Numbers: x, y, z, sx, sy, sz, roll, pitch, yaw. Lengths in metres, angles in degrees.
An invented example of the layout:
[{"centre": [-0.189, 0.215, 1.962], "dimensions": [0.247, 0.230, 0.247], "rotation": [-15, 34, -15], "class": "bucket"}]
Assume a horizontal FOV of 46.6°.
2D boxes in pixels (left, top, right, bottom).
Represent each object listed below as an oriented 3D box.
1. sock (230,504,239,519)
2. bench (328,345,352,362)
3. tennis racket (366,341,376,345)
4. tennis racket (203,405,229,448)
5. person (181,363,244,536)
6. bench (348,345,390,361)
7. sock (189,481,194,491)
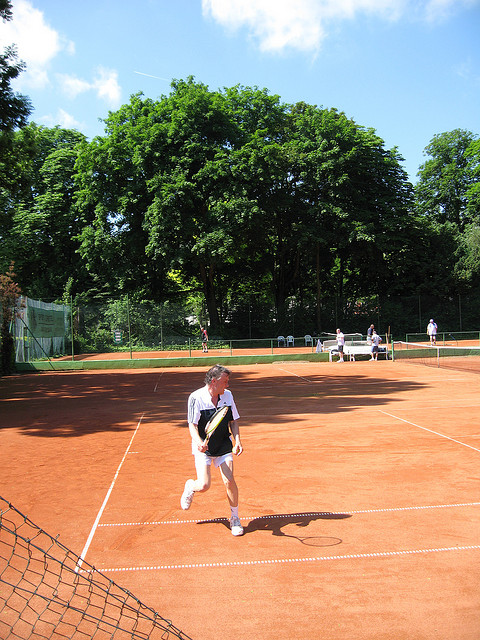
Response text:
[{"centre": [-0.062, 1.803, 5.225], "dimensions": [0.062, 0.110, 0.108], "rotation": [-3, 1, -7], "class": "sock"}, {"centre": [5.292, 1.817, 29.138], "dimensions": [0.944, 0.561, 0.920], "rotation": [1, 1, 5], "class": "bench"}, {"centre": [6.847, 1.215, 29.126], "dimensions": [0.286, 0.133, 0.380], "rotation": [1, 3, -11], "class": "tennis racket"}, {"centre": [-0.231, 0.976, 5.131], "dimensions": [0.245, 0.334, 0.272], "rotation": [-3, 1, -2], "class": "tennis racket"}, {"centre": [-0.293, 1.219, 5.260], "dimensions": [0.577, 1.424, 0.472], "rotation": [-3, 1, -7], "class": "person"}, {"centre": [6.696, 1.744, 29.330], "dimensions": [1.957, 0.607, 1.143], "rotation": [-3, 1, 9], "class": "bench"}, {"centre": [-0.463, 1.580, 5.257], "dimensions": [0.014, 0.051, 0.057], "rotation": [16, -8, -43], "class": "sock"}]
